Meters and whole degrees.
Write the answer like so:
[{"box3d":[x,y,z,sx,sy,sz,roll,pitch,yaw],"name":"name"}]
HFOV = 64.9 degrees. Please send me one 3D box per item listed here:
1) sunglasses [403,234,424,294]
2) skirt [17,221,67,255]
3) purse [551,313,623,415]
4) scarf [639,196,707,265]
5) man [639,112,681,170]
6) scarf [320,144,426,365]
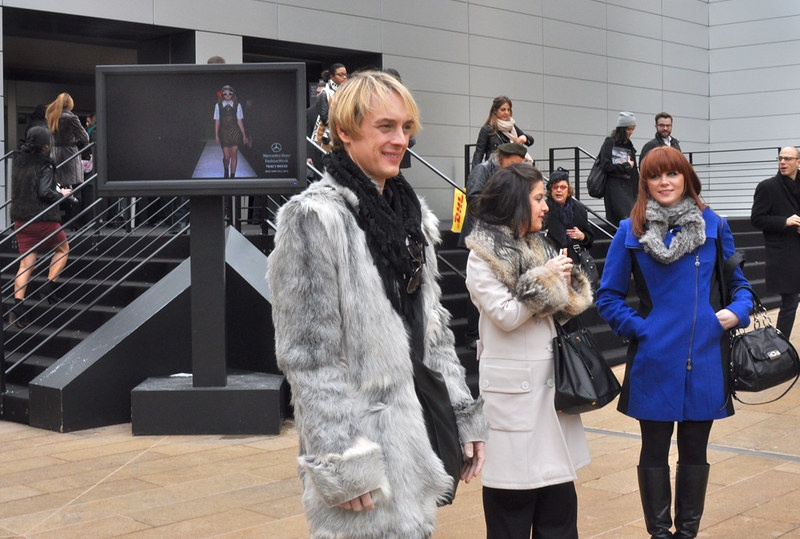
[{"box3d":[0.056,-0.016,2.461,0.049,0.181,0.166,7,-16,-36],"name":"sunglasses"},{"box3d":[-4.888,-0.434,8.548,0.577,0.346,0.531,-7,-8,-42],"name":"skirt"},{"box3d":[1.005,0.557,3.484,0.298,0.530,0.415,1,4,35],"name":"purse"},{"box3d":[1.652,-0.231,3.861,0.327,0.438,0.190,-13,-11,-1],"name":"scarf"},{"box3d":[4.702,-2.248,11.263,0.885,1.043,0.524,2,-10,3],"name":"man"},{"box3d":[-0.044,-0.031,2.452,0.164,0.774,0.486,-11,-2,33],"name":"scarf"}]
